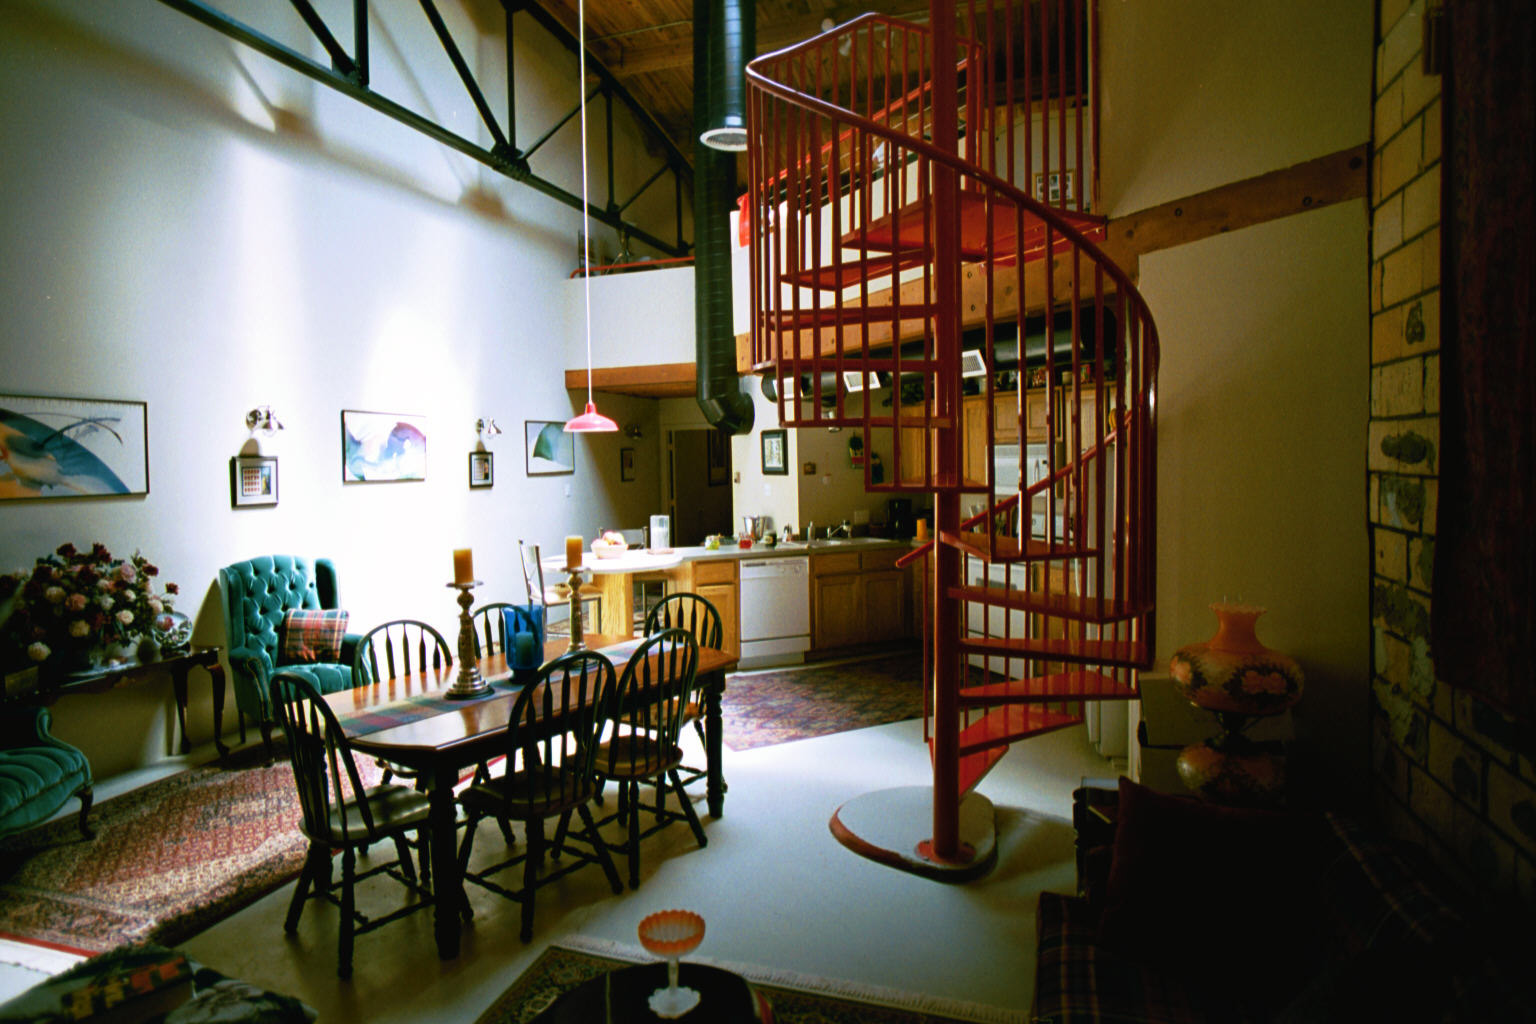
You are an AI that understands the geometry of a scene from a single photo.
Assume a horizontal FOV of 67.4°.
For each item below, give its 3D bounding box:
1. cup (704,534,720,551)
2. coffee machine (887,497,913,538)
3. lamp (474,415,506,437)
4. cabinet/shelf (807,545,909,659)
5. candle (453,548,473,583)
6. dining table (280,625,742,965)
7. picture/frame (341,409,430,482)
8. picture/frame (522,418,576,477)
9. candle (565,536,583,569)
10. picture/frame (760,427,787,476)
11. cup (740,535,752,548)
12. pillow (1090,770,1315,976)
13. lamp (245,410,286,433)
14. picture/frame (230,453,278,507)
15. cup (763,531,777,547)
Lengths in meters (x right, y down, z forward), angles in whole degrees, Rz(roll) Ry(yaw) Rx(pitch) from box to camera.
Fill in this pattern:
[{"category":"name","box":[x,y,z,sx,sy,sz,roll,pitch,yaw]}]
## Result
[{"category":"cup","box":[-0.492,0.265,9.739,0.111,0.111,0.113,0,7,0]},{"category":"coffee machine","box":[1.302,0.061,10.982,0.298,0.445,0.311,-3,3,15]},{"category":"lamp","box":[-2.494,-0.742,10.211,0.036,0.147,0.393,-2,4,20]},{"category":"cabinet/shelf","box":[0.708,0.767,9.792,0.944,0.828,0.457,-1,0,-36]},{"category":"candle","box":[-1.566,0.279,5.873,0.063,0.172,0.092,-5,4,-35]},{"category":"dining table","box":[-1.490,1.127,6.034,1.295,1.194,2.415,4,5,29]},{"category":"picture/frame","box":[-3.037,-0.504,9.115,0.090,0.562,0.951,-2,4,20]},{"category":"picture/frame","box":[-2.106,-0.593,11.074,0.128,0.553,0.818,-2,4,16]},{"category":"candle","box":[-1.108,0.235,6.502,0.076,0.180,0.236,-4,3,-14]},{"category":"picture/frame","box":[0.045,-0.565,10.756,0.038,0.469,0.456,1,-1,-30]},{"category":"cup","box":[-0.205,0.260,9.881,0.090,0.060,0.091,0,8,0]},{"category":"pillow","box":[1.965,1.609,5.069,0.700,0.713,0.214,3,-24,19]},{"category":"lamp","box":[-3.569,-0.643,8.130,0.048,0.160,0.311,-2,4,21]},{"category":"picture/frame","box":[-3.609,-0.216,8.021,0.132,0.375,0.368,1,1,24]},{"category":"cup","box":[0.012,0.234,9.977,0.113,0.085,0.112,-1,4,0]}]
